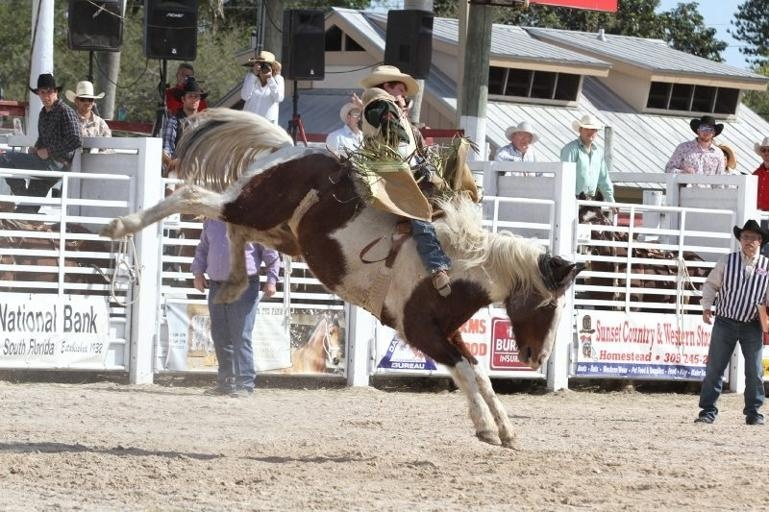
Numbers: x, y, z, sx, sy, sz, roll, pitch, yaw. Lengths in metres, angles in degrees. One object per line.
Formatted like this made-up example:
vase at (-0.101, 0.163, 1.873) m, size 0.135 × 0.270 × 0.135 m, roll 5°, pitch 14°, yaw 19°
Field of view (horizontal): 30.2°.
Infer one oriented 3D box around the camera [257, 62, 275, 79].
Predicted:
camera at (-1.880, -2.905, 22.417) m, size 0.206 × 0.237 × 0.219 m, roll 1°, pitch -5°, yaw -11°

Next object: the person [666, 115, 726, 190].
person at (5.344, -1.822, 24.275) m, size 0.951 × 1.143 × 1.409 m, roll 6°, pitch 12°, yaw 14°

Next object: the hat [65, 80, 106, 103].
hat at (-4.756, -2.599, 22.678) m, size 0.711 × 0.313 × 0.791 m, roll 0°, pitch -4°, yaw -14°

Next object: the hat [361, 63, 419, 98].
hat at (0.108, -2.338, 18.472) m, size 0.506 × 0.181 × 0.449 m, roll 12°, pitch -8°, yaw -13°

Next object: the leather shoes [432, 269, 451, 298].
leather shoes at (0.703, 0.351, 17.792) m, size 0.219 × 0.310 × 0.122 m, roll -14°, pitch 3°, yaw 26°

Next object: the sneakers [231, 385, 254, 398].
sneakers at (-2.024, 1.953, 20.338) m, size 0.318 × 0.135 × 0.128 m, roll 4°, pitch -4°, yaw 37°

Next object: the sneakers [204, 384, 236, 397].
sneakers at (-2.354, 1.957, 20.483) m, size 0.466 × 0.195 × 0.172 m, roll 6°, pitch -7°, yaw 0°

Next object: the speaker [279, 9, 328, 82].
speaker at (-1.443, -3.758, 25.326) m, size 0.724 × 1.239 × 0.701 m, roll 2°, pitch 11°, yaw -6°

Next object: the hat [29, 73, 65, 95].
hat at (-5.200, -2.727, 21.890) m, size 0.451 × 0.204 × 0.539 m, roll -2°, pitch -1°, yaw -4°

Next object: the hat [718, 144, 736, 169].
hat at (6.157, -1.808, 25.440) m, size 0.413 × 0.482 × 0.193 m, roll -5°, pitch -2°, yaw 25°

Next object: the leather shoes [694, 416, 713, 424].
leather shoes at (4.605, 2.372, 20.452) m, size 0.219 × 0.159 × 0.127 m, roll 2°, pitch 2°, yaw -12°

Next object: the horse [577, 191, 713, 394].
horse at (4.446, 0.593, 22.618) m, size 1.120 × 2.915 × 3.215 m, roll -1°, pitch -1°, yaw -39°

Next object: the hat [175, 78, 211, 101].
hat at (-2.974, -2.622, 22.226) m, size 0.518 × 0.224 × 0.587 m, roll 4°, pitch 3°, yaw 4°
